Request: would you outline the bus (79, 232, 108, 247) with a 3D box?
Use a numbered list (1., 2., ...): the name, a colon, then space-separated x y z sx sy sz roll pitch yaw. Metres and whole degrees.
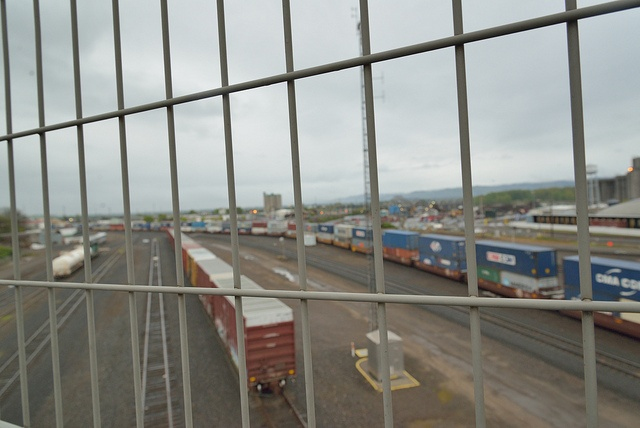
1. bus: -23.744 2.698 52.086 3.091 0.893 3.406 4 5 42
